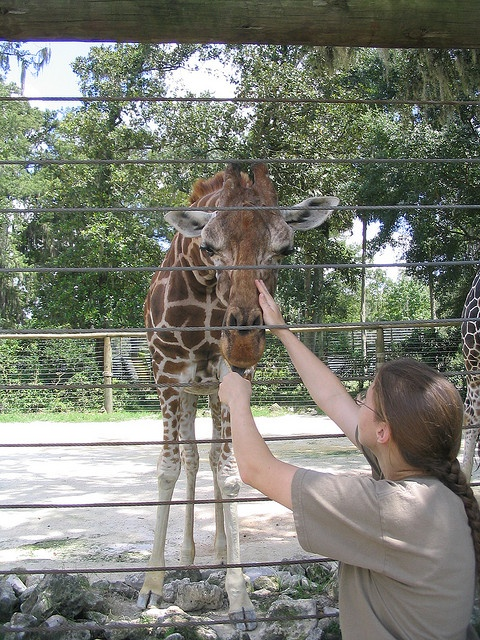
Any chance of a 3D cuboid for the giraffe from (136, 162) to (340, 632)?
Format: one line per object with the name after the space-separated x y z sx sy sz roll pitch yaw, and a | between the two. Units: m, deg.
-0.139 0.459 3.961 0.879 2.091 2.837 0 -10 -10 | giraffe
